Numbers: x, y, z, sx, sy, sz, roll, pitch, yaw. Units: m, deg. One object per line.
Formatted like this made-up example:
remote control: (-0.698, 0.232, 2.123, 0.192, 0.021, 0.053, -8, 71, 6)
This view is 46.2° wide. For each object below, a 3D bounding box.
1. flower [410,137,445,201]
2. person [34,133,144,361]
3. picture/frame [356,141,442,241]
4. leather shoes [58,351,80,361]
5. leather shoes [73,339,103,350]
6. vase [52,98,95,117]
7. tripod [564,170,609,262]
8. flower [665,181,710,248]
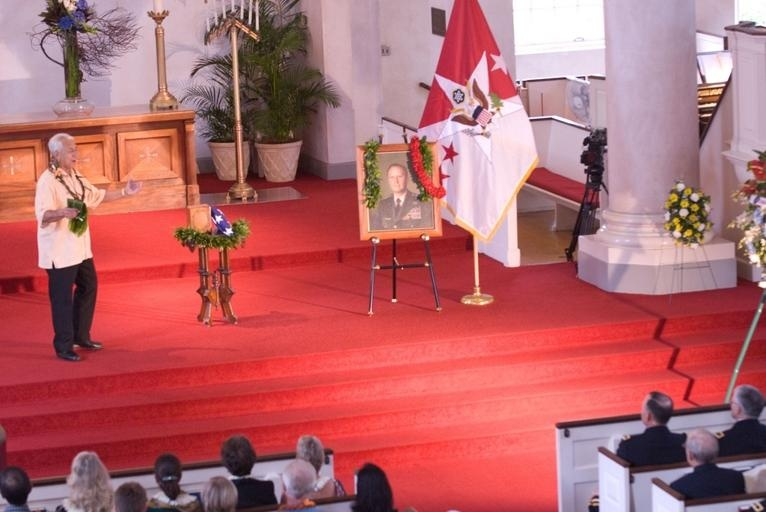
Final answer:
flower: (0.433, -0.882, 8.975, 0.344, 0.635, 0.166, -2, 17, 3)
person: (-2.800, -0.096, 8.162, 0.677, 2.011, 0.424, -19, 23, -42)
picture/frame: (0.162, -0.664, 9.010, 0.937, 1.088, 0.083, -3, 5, -9)
leather shoes: (-2.869, 0.902, 8.189, 0.180, 0.074, 0.091, 3, 9, 30)
leather shoes: (-2.791, 0.840, 8.455, 0.265, 0.115, 0.100, -3, 14, -6)
vase: (-4.099, -1.979, 11.884, 0.347, 0.141, 0.311, -4, 15, -4)
tripod: (2.429, -0.440, 10.727, 0.460, 1.246, 1.047, 1, 17, 12)
flower: (3.035, -0.402, 8.931, 0.444, 0.649, 0.303, 3, 18, 18)
